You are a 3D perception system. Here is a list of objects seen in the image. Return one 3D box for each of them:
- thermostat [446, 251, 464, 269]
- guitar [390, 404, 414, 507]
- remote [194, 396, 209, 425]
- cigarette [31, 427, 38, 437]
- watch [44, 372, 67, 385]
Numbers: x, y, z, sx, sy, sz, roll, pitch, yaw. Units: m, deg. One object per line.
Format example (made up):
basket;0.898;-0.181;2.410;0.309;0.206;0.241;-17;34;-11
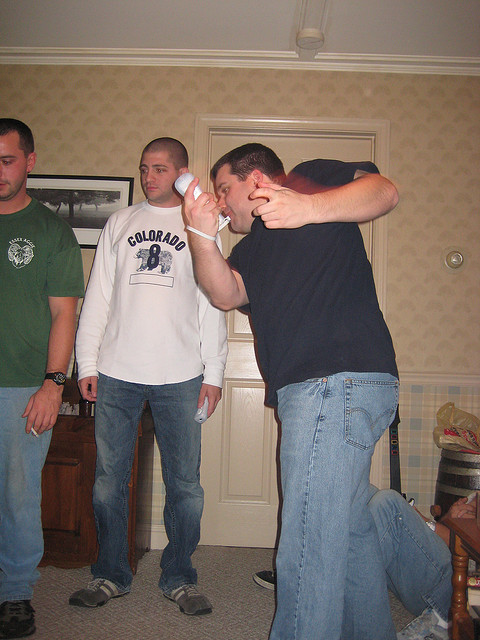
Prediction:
thermostat;1.189;-0.335;3.187;0.093;0.097;0.016;5;-3;-8
guitar;0.821;0.680;2.976;0.107;0.478;0.313;3;-4;17
remote;-0.154;0.347;2.274;0.034;0.113;0.045;2;-2;35
cigarette;-0.719;0.385;2.007;0.008;0.043;0.012;-36;1;35
watch;-0.671;0.218;2.091;0.062;0.056;0.041;24;35;-39
